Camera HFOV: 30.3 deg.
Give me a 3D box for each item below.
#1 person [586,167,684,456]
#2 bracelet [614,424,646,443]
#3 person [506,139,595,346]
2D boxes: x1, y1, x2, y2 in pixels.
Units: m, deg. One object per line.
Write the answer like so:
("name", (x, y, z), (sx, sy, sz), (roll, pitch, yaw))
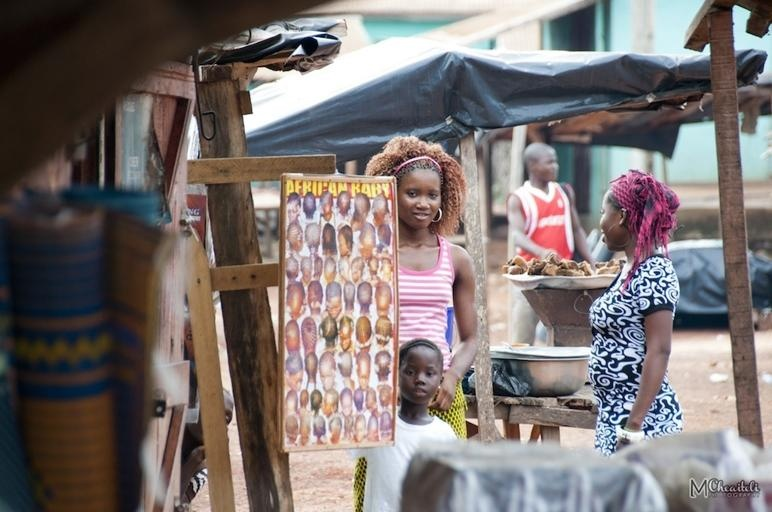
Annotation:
("person", (1.833, 0.393, 10.561), (0.664, 2.091, 0.413), (-2, -3, 15))
("bracelet", (1.789, 1.295, 10.375), (0.208, 0.111, 0.165), (-2, -4, 9))
("person", (1.634, -0.160, 14.327), (0.813, 2.068, 1.110), (-2, -3, 6))
